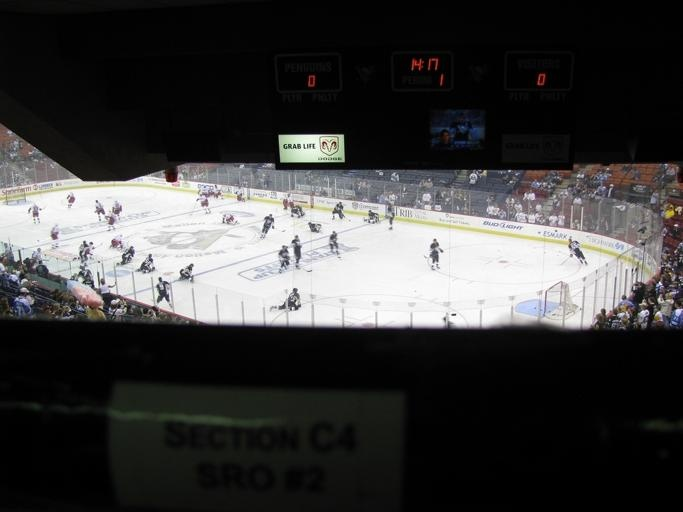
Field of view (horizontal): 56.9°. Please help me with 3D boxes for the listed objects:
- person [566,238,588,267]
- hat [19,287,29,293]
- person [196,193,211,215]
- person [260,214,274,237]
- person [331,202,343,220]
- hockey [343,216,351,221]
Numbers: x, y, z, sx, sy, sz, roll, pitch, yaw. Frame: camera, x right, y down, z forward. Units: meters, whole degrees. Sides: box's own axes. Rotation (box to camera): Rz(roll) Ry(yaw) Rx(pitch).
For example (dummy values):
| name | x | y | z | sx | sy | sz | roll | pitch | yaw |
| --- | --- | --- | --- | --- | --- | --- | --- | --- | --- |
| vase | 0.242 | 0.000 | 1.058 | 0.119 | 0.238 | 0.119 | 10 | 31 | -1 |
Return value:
| name | x | y | z | sx | sy | sz | roll | pitch | yaw |
| --- | --- | --- | --- | --- | --- | --- | --- | --- | --- |
| person | 5.347 | -0.140 | 14.229 | 0.407 | 0.481 | 0.749 | 3 | 19 | 16 |
| hat | -5.870 | 0.623 | 11.604 | 0.098 | 0.096 | 0.121 | 11 | 16 | -12 |
| person | -4.672 | -1.811 | 21.364 | 0.317 | 0.744 | 0.553 | 0 | 12 | -32 |
| person | -2.131 | -0.918 | 17.846 | 0.371 | 0.553 | 0.858 | -5 | 19 | -7 |
| person | -0.129 | -1.372 | 18.802 | 0.353 | 0.462 | 0.760 | -3 | 18 | 1 |
| hockey | 0.159 | -1.108 | 18.623 | 0.193 | 0.065 | 0.140 | 2 | 13 | 13 |
